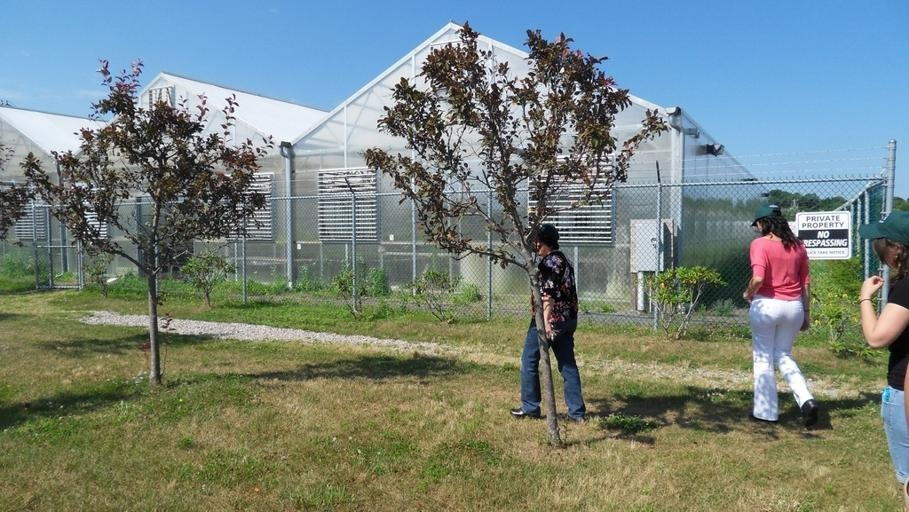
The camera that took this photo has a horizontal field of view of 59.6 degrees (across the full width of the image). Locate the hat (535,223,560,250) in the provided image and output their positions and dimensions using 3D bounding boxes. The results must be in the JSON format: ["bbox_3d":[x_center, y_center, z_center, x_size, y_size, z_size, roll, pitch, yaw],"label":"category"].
[{"bbox_3d":[1.602,-0.328,13.759,0.375,0.435,0.206,-3,10,3],"label":"hat"}]

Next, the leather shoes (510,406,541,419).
[{"bbox_3d":[1.251,2.757,14.032,0.496,0.209,0.200,6,-5,12],"label":"leather shoes"}]

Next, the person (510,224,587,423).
[{"bbox_3d":[1.641,1.183,13.817,1.193,3.450,0.772,-3,10,2],"label":"person"}]

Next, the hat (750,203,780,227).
[{"bbox_3d":[5.451,-0.735,14.016,0.332,0.240,0.445,-5,2,-3],"label":"hat"}]

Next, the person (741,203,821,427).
[{"bbox_3d":[5.664,0.999,13.719,1.175,3.701,0.982,1,11,24],"label":"person"}]

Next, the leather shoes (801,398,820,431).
[{"bbox_3d":[6.014,2.701,13.466,0.216,0.580,0.245,2,32,11],"label":"leather shoes"}]
